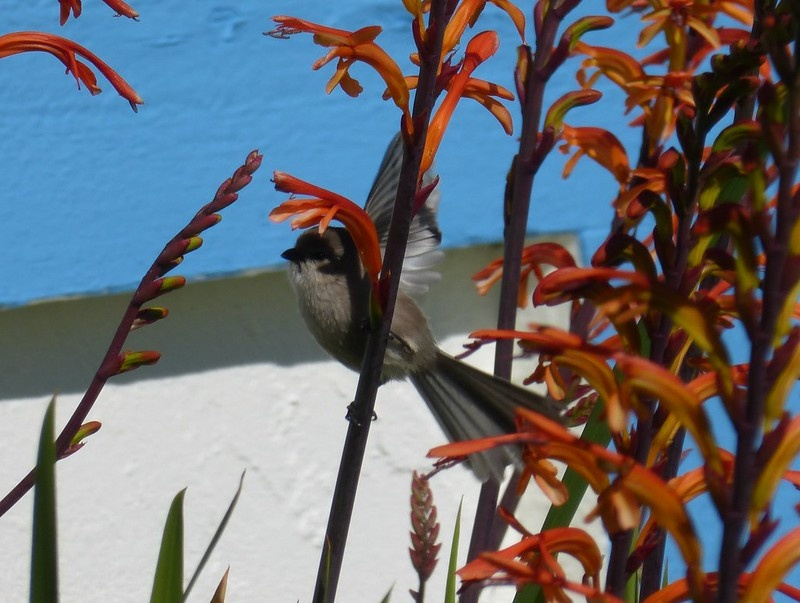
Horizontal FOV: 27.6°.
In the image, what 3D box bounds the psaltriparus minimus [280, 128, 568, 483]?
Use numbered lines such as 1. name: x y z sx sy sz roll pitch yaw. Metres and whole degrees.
1. psaltriparus minimus: 0.035 0.039 3.575 0.682 0.482 0.764 22 -14 -12
